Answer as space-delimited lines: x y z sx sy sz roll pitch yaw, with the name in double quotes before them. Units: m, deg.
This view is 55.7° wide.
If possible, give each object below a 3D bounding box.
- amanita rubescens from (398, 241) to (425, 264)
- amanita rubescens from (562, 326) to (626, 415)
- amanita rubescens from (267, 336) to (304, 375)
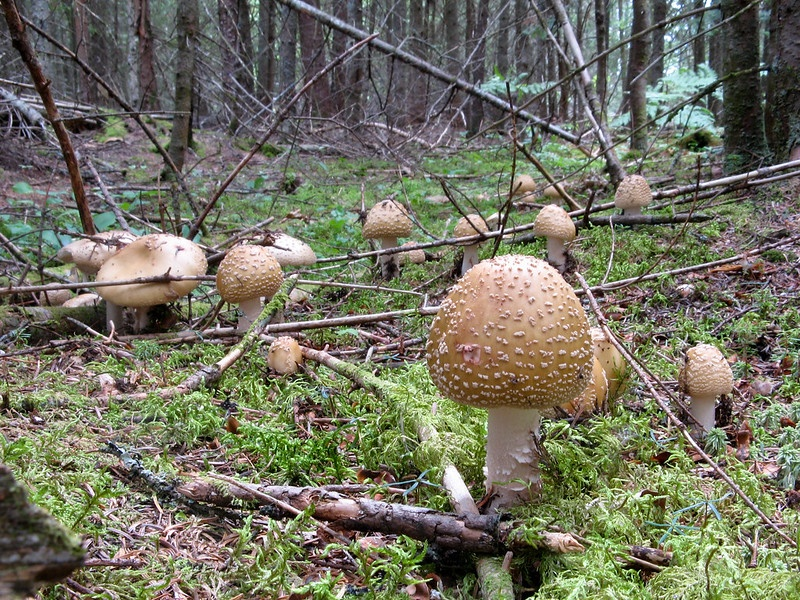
"amanita rubescens" 0.179 -0.664 10.326 0.287 0.226 0.299 1 9 21
"amanita rubescens" 1.550 0.650 6.358 0.681 0.435 0.547 -33 -22 28
"amanita rubescens" -1.046 0.507 7.027 0.299 0.390 0.314 1 0 3
